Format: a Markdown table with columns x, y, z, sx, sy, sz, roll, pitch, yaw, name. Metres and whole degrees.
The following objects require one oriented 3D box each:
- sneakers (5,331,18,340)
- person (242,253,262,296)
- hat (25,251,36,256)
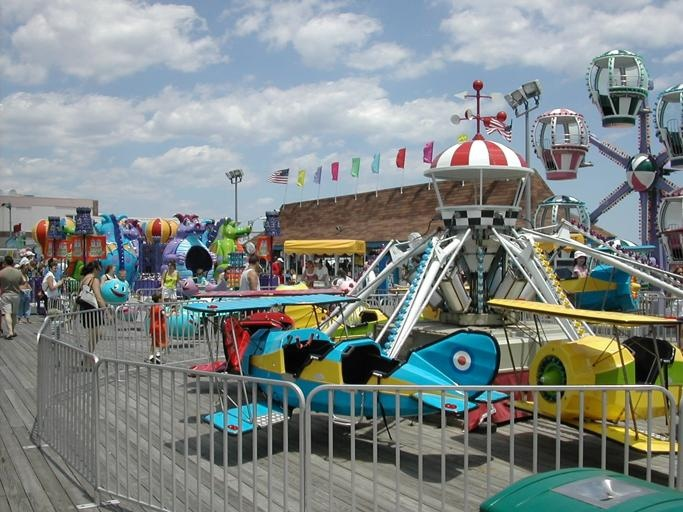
| x | y | z | sx | sy | sz | roll | pitch | yaw | name |
| --- | --- | --- | --- | --- | --- | --- | --- | --- | --- |
| -7.701 | 1.843 | 15.973 | 0.271 | 0.150 | 0.594 | -2 | 0 | -27 | sneakers |
| -1.893 | 0.322 | 14.006 | 0.383 | 0.721 | 1.997 | -2 | 0 | -9 | person |
| -10.574 | -0.078 | 23.316 | 0.439 | 0.147 | 0.446 | 2 | 1 | -4 | hat |
